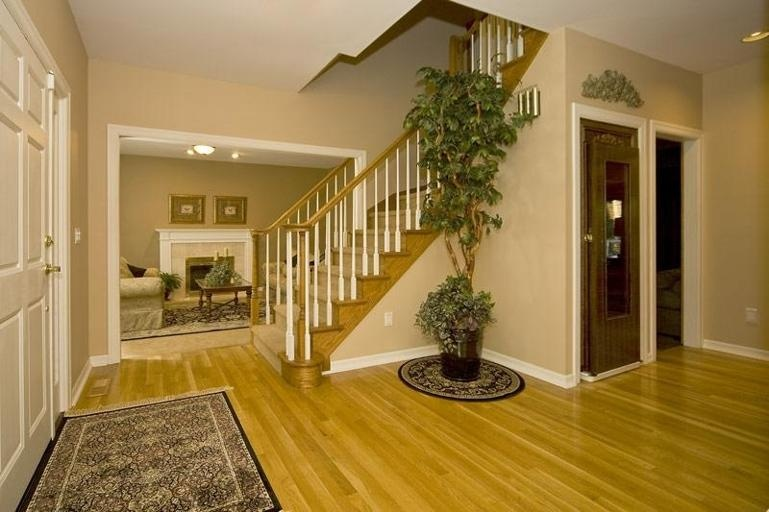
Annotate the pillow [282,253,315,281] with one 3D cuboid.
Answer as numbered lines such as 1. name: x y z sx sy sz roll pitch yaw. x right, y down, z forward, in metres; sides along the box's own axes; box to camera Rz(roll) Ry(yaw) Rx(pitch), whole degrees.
1. pillow: -1.263 0.144 7.857 0.425 0.159 0.526 -14 5 -11

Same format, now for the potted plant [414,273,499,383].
1. potted plant: 0.738 0.755 5.467 0.935 1.027 0.966 -7 -8 16

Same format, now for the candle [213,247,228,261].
1. candle: -3.079 -0.037 9.605 0.278 0.251 0.095 0 -2 -21

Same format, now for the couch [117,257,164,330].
1. couch: -3.686 0.474 7.598 0.644 0.924 1.581 -1 7 -32

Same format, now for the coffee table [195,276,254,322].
1. coffee table: -2.577 0.671 8.203 0.754 0.411 1.151 -3 2 -25
